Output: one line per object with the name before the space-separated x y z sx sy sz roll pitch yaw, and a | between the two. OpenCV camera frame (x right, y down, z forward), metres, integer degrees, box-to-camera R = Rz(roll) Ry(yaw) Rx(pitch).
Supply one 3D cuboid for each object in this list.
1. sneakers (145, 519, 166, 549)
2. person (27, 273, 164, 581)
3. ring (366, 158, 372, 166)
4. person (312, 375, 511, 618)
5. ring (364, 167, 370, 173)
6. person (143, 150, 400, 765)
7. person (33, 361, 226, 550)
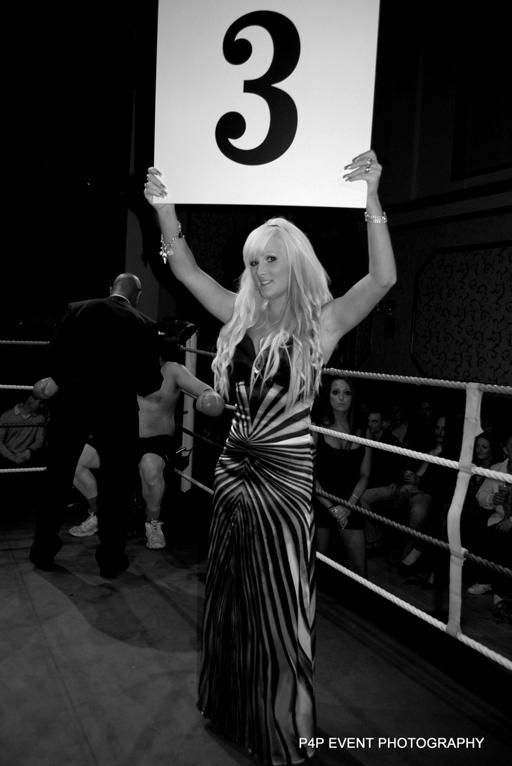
sneakers | -0.562 0.841 3.195 0.094 0.112 0.241 0 -8 -11
person | -0.797 0.187 2.842 0.493 1.512 0.460 6 11 -11
ring | 0.216 -0.425 1.109 0.007 0.015 0.004 1 2 -12
person | 0.815 0.635 3.064 0.387 0.785 1.027 7 -3 -16
ring | 0.213 -0.412 1.110 0.009 0.010 0.002 12 3 27
person | 0.068 0.245 1.407 0.225 1.424 0.632 1 2 -30
person | -0.666 0.383 2.897 0.849 1.119 0.445 1 -2 11
